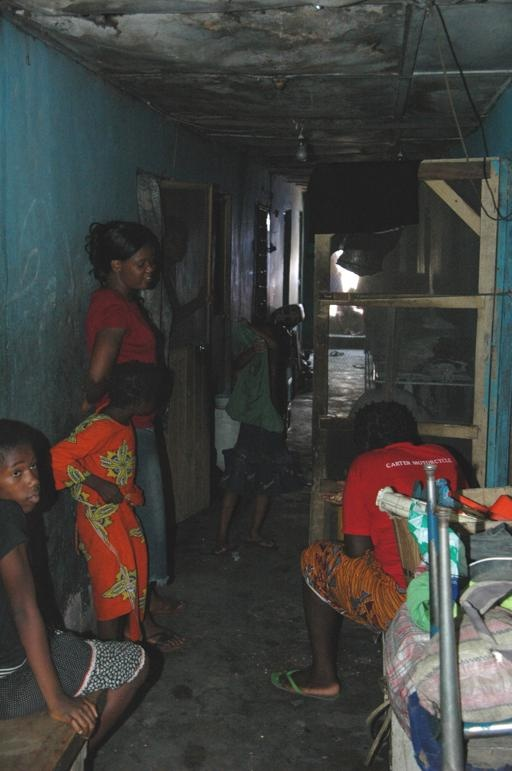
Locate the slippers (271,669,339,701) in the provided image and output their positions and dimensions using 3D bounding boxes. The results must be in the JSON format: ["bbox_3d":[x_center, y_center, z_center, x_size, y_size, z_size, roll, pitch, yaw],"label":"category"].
[{"bbox_3d":[0.208,1.316,3.134,0.269,0.067,0.113,5,8,29],"label":"slippers"}]

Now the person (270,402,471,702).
[{"bbox_3d":[0.482,0.813,2.886,0.368,1.166,0.770,-6,11,-38],"label":"person"}]

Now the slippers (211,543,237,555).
[{"bbox_3d":[-0.215,1.110,4.815,0.067,0.077,0.190,0,-11,10],"label":"slippers"}]

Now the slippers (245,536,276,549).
[{"bbox_3d":[0.037,1.108,5.025,0.202,0.131,0.071,-6,-9,34],"label":"slippers"}]
